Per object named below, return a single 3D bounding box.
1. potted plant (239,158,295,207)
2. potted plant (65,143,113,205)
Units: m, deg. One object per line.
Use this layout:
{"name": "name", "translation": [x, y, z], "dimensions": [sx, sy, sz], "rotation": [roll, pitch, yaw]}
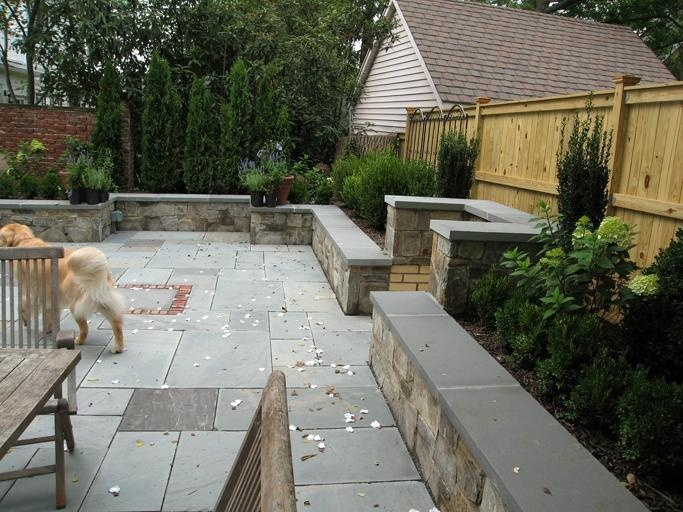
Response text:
{"name": "potted plant", "translation": [-1.285, -1.257, 8.154], "dimensions": [0.995, 0.870, 0.960], "rotation": [-5, 15, -18]}
{"name": "potted plant", "translation": [-4.206, -1.444, 8.156], "dimensions": [0.773, 0.884, 2.293], "rotation": [-8, 18, -27]}
